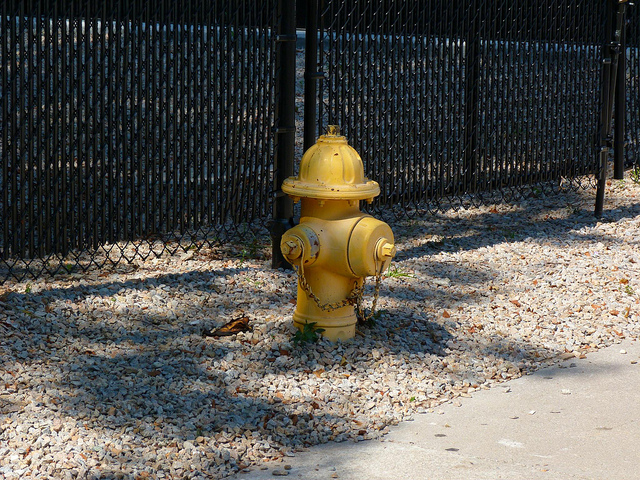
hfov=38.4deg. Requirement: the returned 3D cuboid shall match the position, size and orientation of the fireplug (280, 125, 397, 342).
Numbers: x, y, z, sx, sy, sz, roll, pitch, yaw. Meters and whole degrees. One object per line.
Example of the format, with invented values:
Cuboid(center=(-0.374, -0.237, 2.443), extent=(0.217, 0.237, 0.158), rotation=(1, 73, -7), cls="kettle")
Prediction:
Cuboid(center=(0.104, -0.047, 6.353), extent=(0.752, 1.479, 0.586), rotation=(-1, 11, -5), cls="fireplug")
